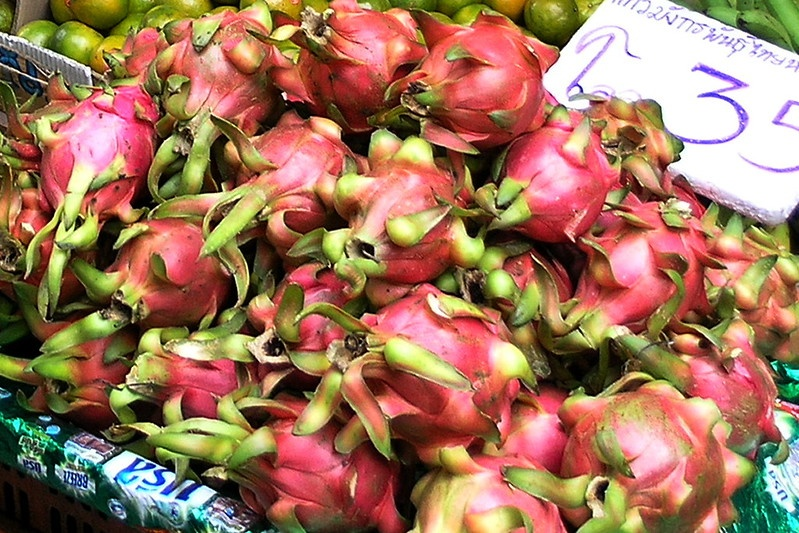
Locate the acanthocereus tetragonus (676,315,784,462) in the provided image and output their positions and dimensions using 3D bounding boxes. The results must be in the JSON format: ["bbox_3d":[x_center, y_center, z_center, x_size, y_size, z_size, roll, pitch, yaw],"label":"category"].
[{"bbox_3d":[0.462,0.148,0.997,0.068,0.184,0.197,-21,56,-5],"label":"acanthocereus tetragonus"}]

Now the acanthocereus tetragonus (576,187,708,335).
[{"bbox_3d":[0.343,-0.016,1.060,0.199,0.187,0.112,-45,29,-27],"label":"acanthocereus tetragonus"}]
